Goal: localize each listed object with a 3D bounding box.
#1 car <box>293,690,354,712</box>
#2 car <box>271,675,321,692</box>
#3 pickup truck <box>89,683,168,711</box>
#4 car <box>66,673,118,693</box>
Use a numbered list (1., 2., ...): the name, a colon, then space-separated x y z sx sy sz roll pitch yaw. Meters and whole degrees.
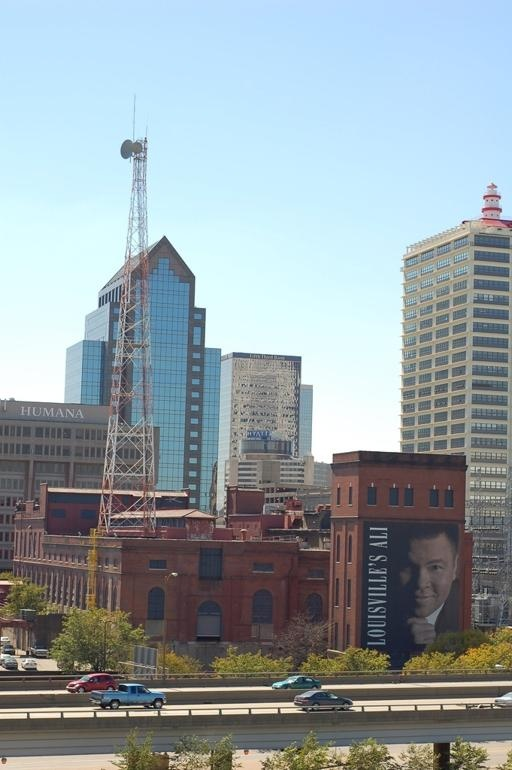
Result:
1. car: 4.356 18.877 116.166 2.870 1.069 1.338 -2 1 -12
2. car: 2.737 18.994 124.478 2.738 0.947 1.185 5 -9 -10
3. pickup truck: -7.528 18.342 115.021 3.686 1.423 1.770 -1 0 -17
4. car: -10.134 18.287 119.757 2.410 1.127 1.333 5 -7 -10
